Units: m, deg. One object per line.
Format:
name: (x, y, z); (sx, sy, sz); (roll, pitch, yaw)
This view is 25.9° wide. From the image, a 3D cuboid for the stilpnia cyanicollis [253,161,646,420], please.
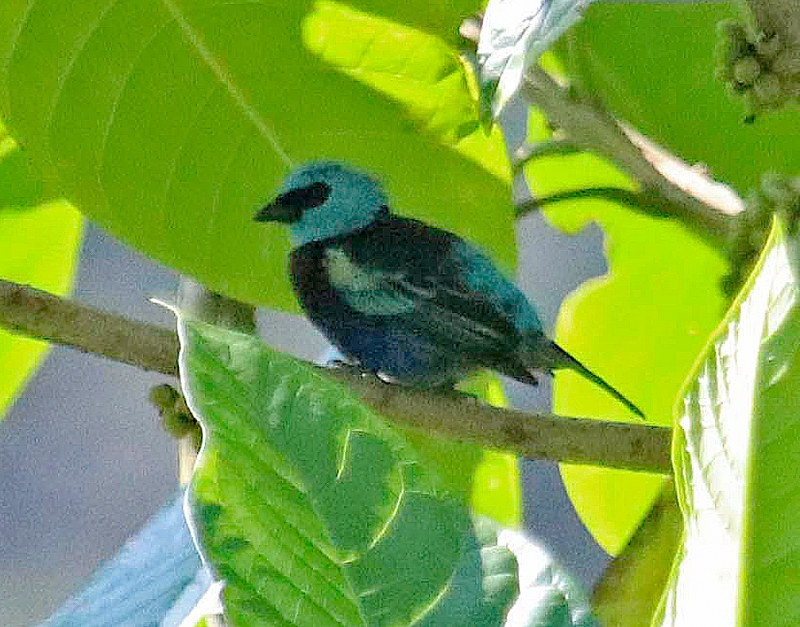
stilpnia cyanicollis: (0.058, -0.007, 1.541); (0.196, 0.293, 0.324); (-2, 5, 15)
